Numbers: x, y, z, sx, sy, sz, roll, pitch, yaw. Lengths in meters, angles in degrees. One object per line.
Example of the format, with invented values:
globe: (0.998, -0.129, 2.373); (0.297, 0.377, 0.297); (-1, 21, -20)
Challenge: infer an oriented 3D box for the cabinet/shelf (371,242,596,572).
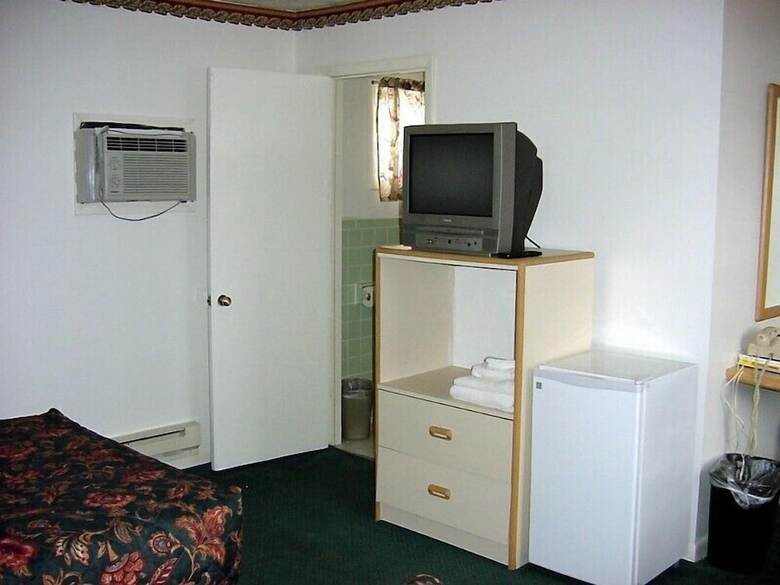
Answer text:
cabinet/shelf: (0.460, 0.559, 3.644); (1.110, 1.620, 0.777); (8, 14, 39)

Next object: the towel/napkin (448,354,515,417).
towel/napkin: (0.515, 0.462, 3.400); (0.388, 0.235, 0.311); (5, 12, 24)

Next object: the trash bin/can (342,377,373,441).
trash bin/can: (-0.264, 0.920, 4.959); (0.249, 0.401, 0.341); (-1, 11, -3)

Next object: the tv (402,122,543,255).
tv: (0.468, -0.540, 3.660); (0.887, 0.928, 0.664); (11, 16, 44)
